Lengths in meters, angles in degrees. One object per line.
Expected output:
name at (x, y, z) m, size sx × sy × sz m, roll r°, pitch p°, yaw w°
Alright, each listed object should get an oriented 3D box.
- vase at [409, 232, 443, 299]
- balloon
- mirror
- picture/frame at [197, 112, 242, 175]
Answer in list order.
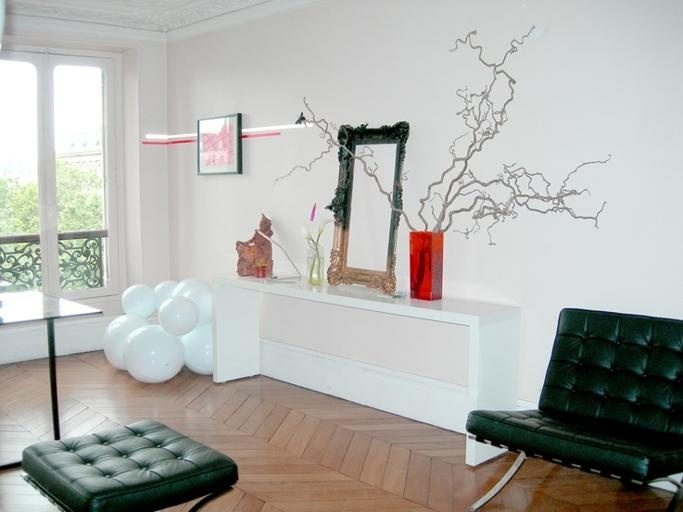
vase at (0.576, 0.067, 3.494) m, size 0.215 × 0.475 × 0.122 m, roll 0°, pitch 9°, yaw 5°
balloon at (-1.575, 0.714, 4.559) m, size 0.931 × 0.995 × 0.408 m, roll 7°, pitch -2°, yaw 7°
mirror at (0.160, -0.392, 3.928) m, size 0.677 × 1.251 × 0.571 m, roll 3°, pitch 10°, yaw 22°
picture/frame at (-1.200, -1.129, 5.104) m, size 0.666 × 0.584 × 0.070 m, roll 2°, pitch 3°, yaw 44°
